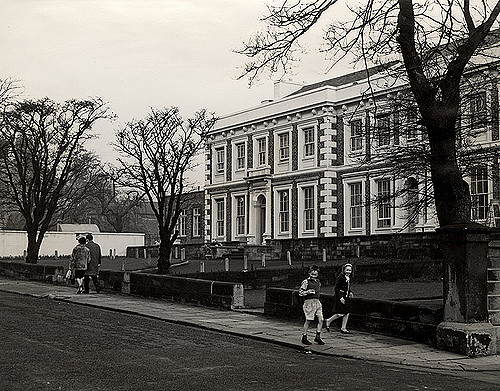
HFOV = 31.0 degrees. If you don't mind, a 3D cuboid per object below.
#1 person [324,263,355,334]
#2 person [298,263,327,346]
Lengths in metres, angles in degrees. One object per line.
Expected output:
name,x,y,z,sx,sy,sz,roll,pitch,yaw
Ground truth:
person,2.480,2.870,24.935,0.706,1.881,1.070,0,-8,6
person,1.637,2.886,23.633,0.626,2.082,0.867,0,-8,6
